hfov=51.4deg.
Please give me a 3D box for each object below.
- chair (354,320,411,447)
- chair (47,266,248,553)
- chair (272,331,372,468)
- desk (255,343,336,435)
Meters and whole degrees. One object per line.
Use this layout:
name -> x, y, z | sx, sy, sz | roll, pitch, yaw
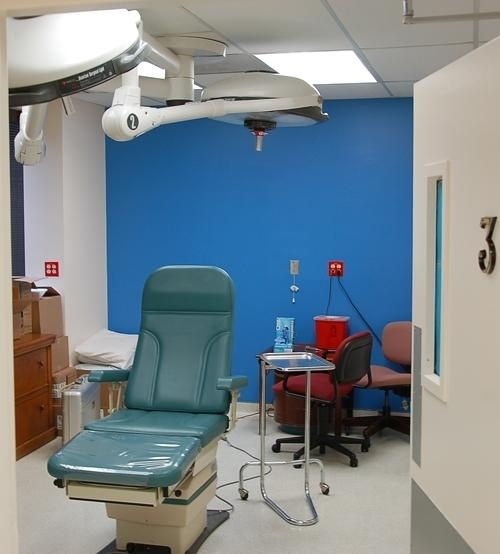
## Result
chair -> 1.177, 0.830, 4.303 | 0.590, 0.943, 0.578 | 5, -3, -1
chair -> -0.428, 0.656, 2.521 | 0.814, 1.410, 1.050 | 0, 2, -1
chair -> 0.543, 0.877, 3.996 | 0.756, 0.958, 0.874 | 0, 1, -1
desk -> 0.387, 1.026, 4.424 | 0.461, 0.548, 0.460 | 0, -13, -37
